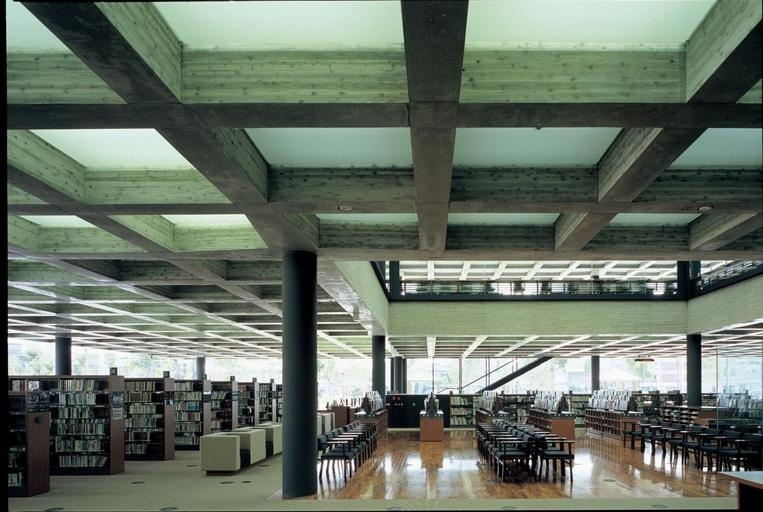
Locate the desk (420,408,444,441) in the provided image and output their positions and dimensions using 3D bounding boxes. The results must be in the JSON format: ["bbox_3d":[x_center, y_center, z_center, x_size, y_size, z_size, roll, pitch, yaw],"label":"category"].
[{"bbox_3d":[1.574,5.640,20.834,0.954,0.919,1.140,-4,-9,25],"label":"desk"}]

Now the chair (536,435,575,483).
[{"bbox_3d":[3.910,4.613,14.113,0.711,0.564,1.679,0,-9,7],"label":"chair"}]
